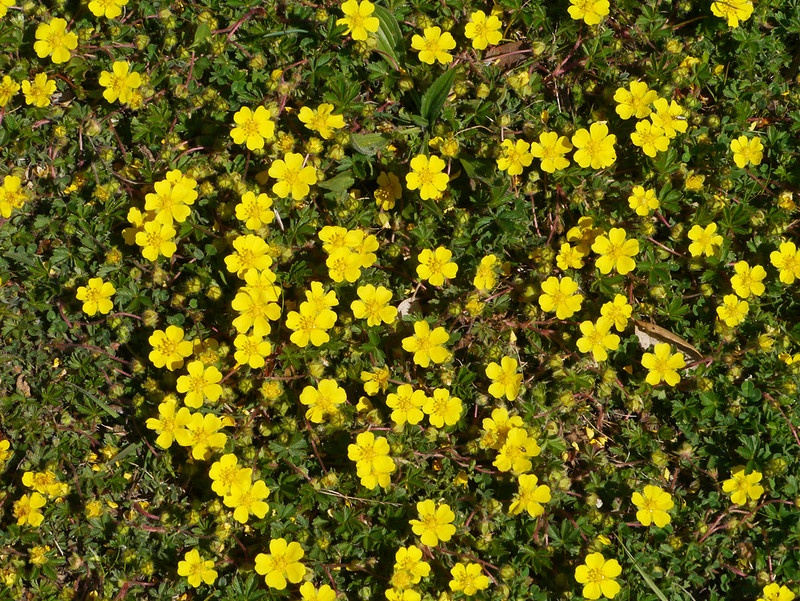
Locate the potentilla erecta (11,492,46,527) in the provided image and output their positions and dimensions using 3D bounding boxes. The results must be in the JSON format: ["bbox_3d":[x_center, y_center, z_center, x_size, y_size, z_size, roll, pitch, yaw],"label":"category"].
[{"bbox_3d":[-2.210,1.250,4.879,0.203,0.096,0.213,-7,86,0],"label":"potentilla erecta"}]

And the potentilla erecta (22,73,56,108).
[{"bbox_3d":[-2.252,-1.299,5.112,0.195,0.069,0.209,41,101,0],"label":"potentilla erecta"}]

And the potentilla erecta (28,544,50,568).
[{"bbox_3d":[-2.158,1.520,4.885,0.114,0.042,0.117,7,86,1],"label":"potentilla erecta"}]
